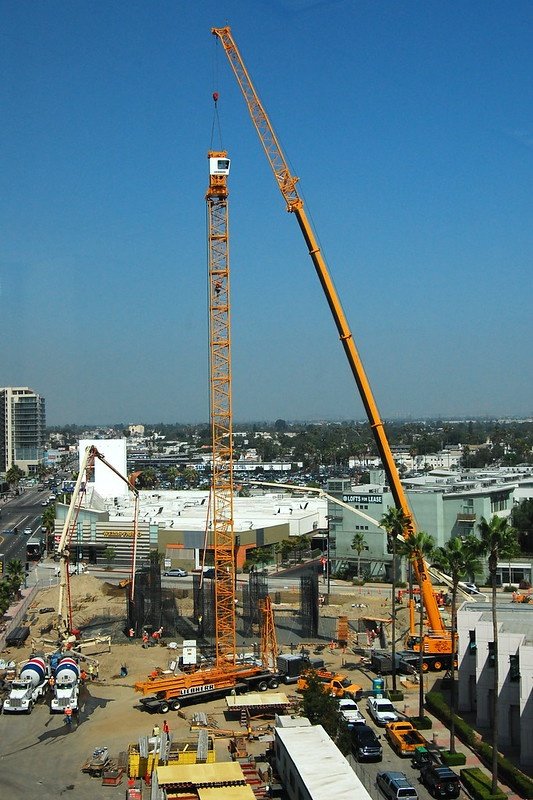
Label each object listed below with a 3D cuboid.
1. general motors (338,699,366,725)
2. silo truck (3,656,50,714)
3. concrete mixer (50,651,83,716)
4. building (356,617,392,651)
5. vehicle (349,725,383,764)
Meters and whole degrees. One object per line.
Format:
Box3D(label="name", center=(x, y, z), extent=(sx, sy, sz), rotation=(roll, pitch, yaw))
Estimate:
Box3D(label="general motors", center=(3.817, 14.084, 40.228), extent=(1.011, 0.784, 1.999), rotation=(1, -6, -5))
Box3D(label="silo truck", center=(-12.042, 14.240, 44.421), extent=(1.226, 1.873, 3.801), rotation=(-2, -4, -1))
Box3D(label="concrete mixer", center=(-9.959, 14.090, 43.966), extent=(0.987, 1.417, 3.024), rotation=(-1, -3, -6))
Box3D(label="building", center=(7.122, 15.855, 60.122), extent=(1.480, 1.832, 1.843), rotation=(1, 1, -13))
Box3D(label="vehicle", center=(4.057, 14.136, 36.709), extent=(0.762, 0.747, 1.720), rotation=(1, -10, -8))
